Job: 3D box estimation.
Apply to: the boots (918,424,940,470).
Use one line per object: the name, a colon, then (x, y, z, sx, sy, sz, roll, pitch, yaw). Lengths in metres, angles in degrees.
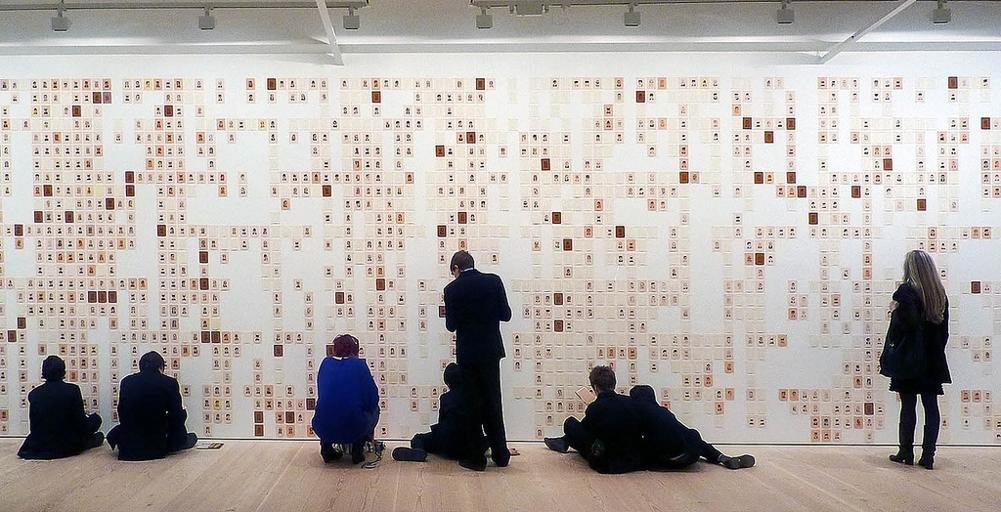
boots: (5.887, 2.623, 14.849, 0.305, 0.622, 0.205, 0, -1, -32)

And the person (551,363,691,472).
person: (1.695, 2.253, 14.829, 1.660, 1.430, 0.403, -1, -1, 2)

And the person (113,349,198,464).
person: (-4.817, 2.085, 14.961, 0.921, 1.469, 0.225, -1, -1, -13)

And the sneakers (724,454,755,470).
sneakers: (3.213, 2.852, 14.814, 0.448, 0.137, 0.149, -4, 5, 3)

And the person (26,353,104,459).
person: (-6.132, 2.110, 15.038, 1.085, 1.401, 0.227, -1, -1, -19)

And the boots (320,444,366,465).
boots: (-2.210, 2.733, 14.843, 0.627, 0.437, 0.273, 5, -7, -1)

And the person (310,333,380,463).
person: (-2.159, 1.971, 14.857, 0.883, 1.760, 0.287, -1, -1, -8)
